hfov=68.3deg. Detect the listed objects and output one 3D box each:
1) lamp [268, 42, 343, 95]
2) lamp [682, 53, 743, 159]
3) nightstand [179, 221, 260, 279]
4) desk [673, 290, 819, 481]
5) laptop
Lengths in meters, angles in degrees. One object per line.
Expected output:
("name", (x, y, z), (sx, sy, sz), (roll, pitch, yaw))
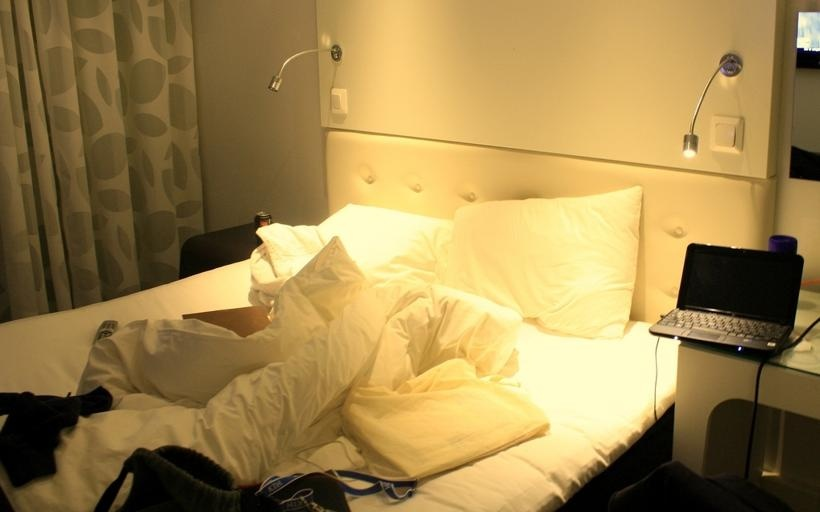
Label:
("lamp", (-0.644, -1.098, 3.550), (0.409, 0.272, 0.531), (-5, 16, -25))
("lamp", (1.289, -0.637, 2.551), (0.092, 0.424, 0.153), (26, 17, 30))
("nightstand", (-1.160, -0.040, 3.624), (0.445, 0.219, 0.328), (-11, 40, -27))
("desk", (1.312, 0.502, 2.455), (0.568, 0.597, 0.609), (14, 32, 32))
("laptop", (1.266, 0.121, 2.338), (0.483, 0.310, 0.457), (13, 27, 34))
